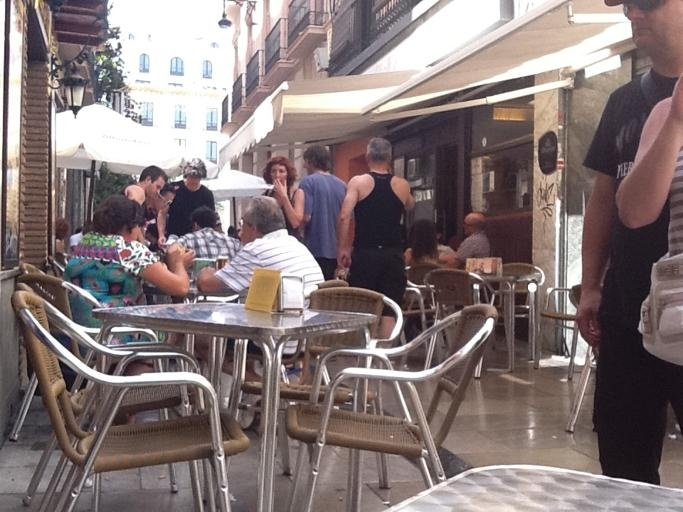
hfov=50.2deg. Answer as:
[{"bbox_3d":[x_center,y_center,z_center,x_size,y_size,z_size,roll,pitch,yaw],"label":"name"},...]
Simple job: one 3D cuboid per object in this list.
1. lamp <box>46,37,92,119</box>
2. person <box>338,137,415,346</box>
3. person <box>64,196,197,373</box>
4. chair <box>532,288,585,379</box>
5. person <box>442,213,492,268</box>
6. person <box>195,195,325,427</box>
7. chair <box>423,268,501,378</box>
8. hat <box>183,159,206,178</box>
[{"bbox_3d":[-3.408,-2.336,9.339,0.477,1.021,0.358,-2,5,-8],"label":"lamp"},{"bbox_3d":[0.316,-0.083,6.785,0.812,2.022,0.585,5,-1,-31],"label":"person"},{"bbox_3d":[-1.495,0.299,4.986,0.796,1.382,0.689,-1,-4,39],"label":"person"},{"bbox_3d":[2.265,0.674,7.438,0.564,0.789,0.476,-2,1,-43],"label":"chair"},{"bbox_3d":[1.572,-0.217,9.349,0.584,0.710,0.816,2,0,9],"label":"person"},{"bbox_3d":[-0.588,0.429,5.022,0.965,1.607,0.705,-4,-8,21],"label":"person"},{"bbox_3d":[1.016,0.653,7.229,0.636,1.015,0.648,-1,-3,-24],"label":"chair"},{"bbox_3d":[-1.714,-1.052,8.545,0.220,0.289,0.278,-3,22,-20],"label":"hat"}]
